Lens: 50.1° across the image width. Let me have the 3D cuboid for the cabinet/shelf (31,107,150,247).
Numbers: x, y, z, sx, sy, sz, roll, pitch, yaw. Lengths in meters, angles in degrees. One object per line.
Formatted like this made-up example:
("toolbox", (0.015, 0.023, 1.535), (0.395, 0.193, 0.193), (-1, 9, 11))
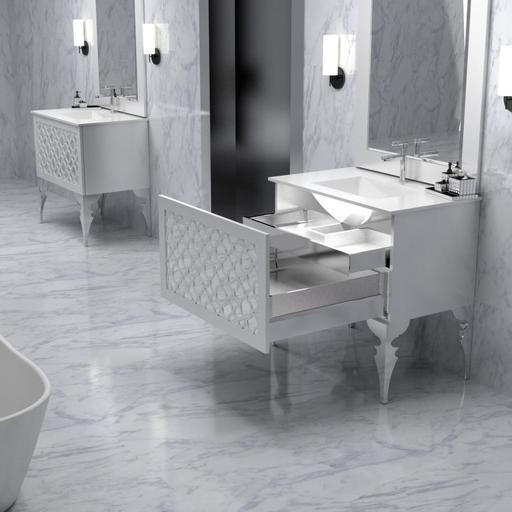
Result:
("cabinet/shelf", (-1.494, -0.837, 4.984), (0.668, 0.833, 1.148), (-12, 20, -38))

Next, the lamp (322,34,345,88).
("lamp", (0.381, -1.038, 2.949), (0.110, 0.270, 0.206), (-4, 13, -24))

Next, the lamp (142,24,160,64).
("lamp", (-0.850, -1.692, 4.390), (0.104, 0.295, 0.204), (-7, 14, -33))

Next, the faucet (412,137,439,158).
("faucet", (0.752, -0.490, 2.484), (0.134, 0.097, 0.047), (13, 23, 40))

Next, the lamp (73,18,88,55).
("lamp", (-1.644, -2.048, 5.132), (0.095, 0.327, 0.296), (-6, 14, -29))

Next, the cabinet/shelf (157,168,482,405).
("cabinet/shelf", (0.291, -0.030, 2.451), (1.170, 0.833, 1.070), (-10, 19, -30))
